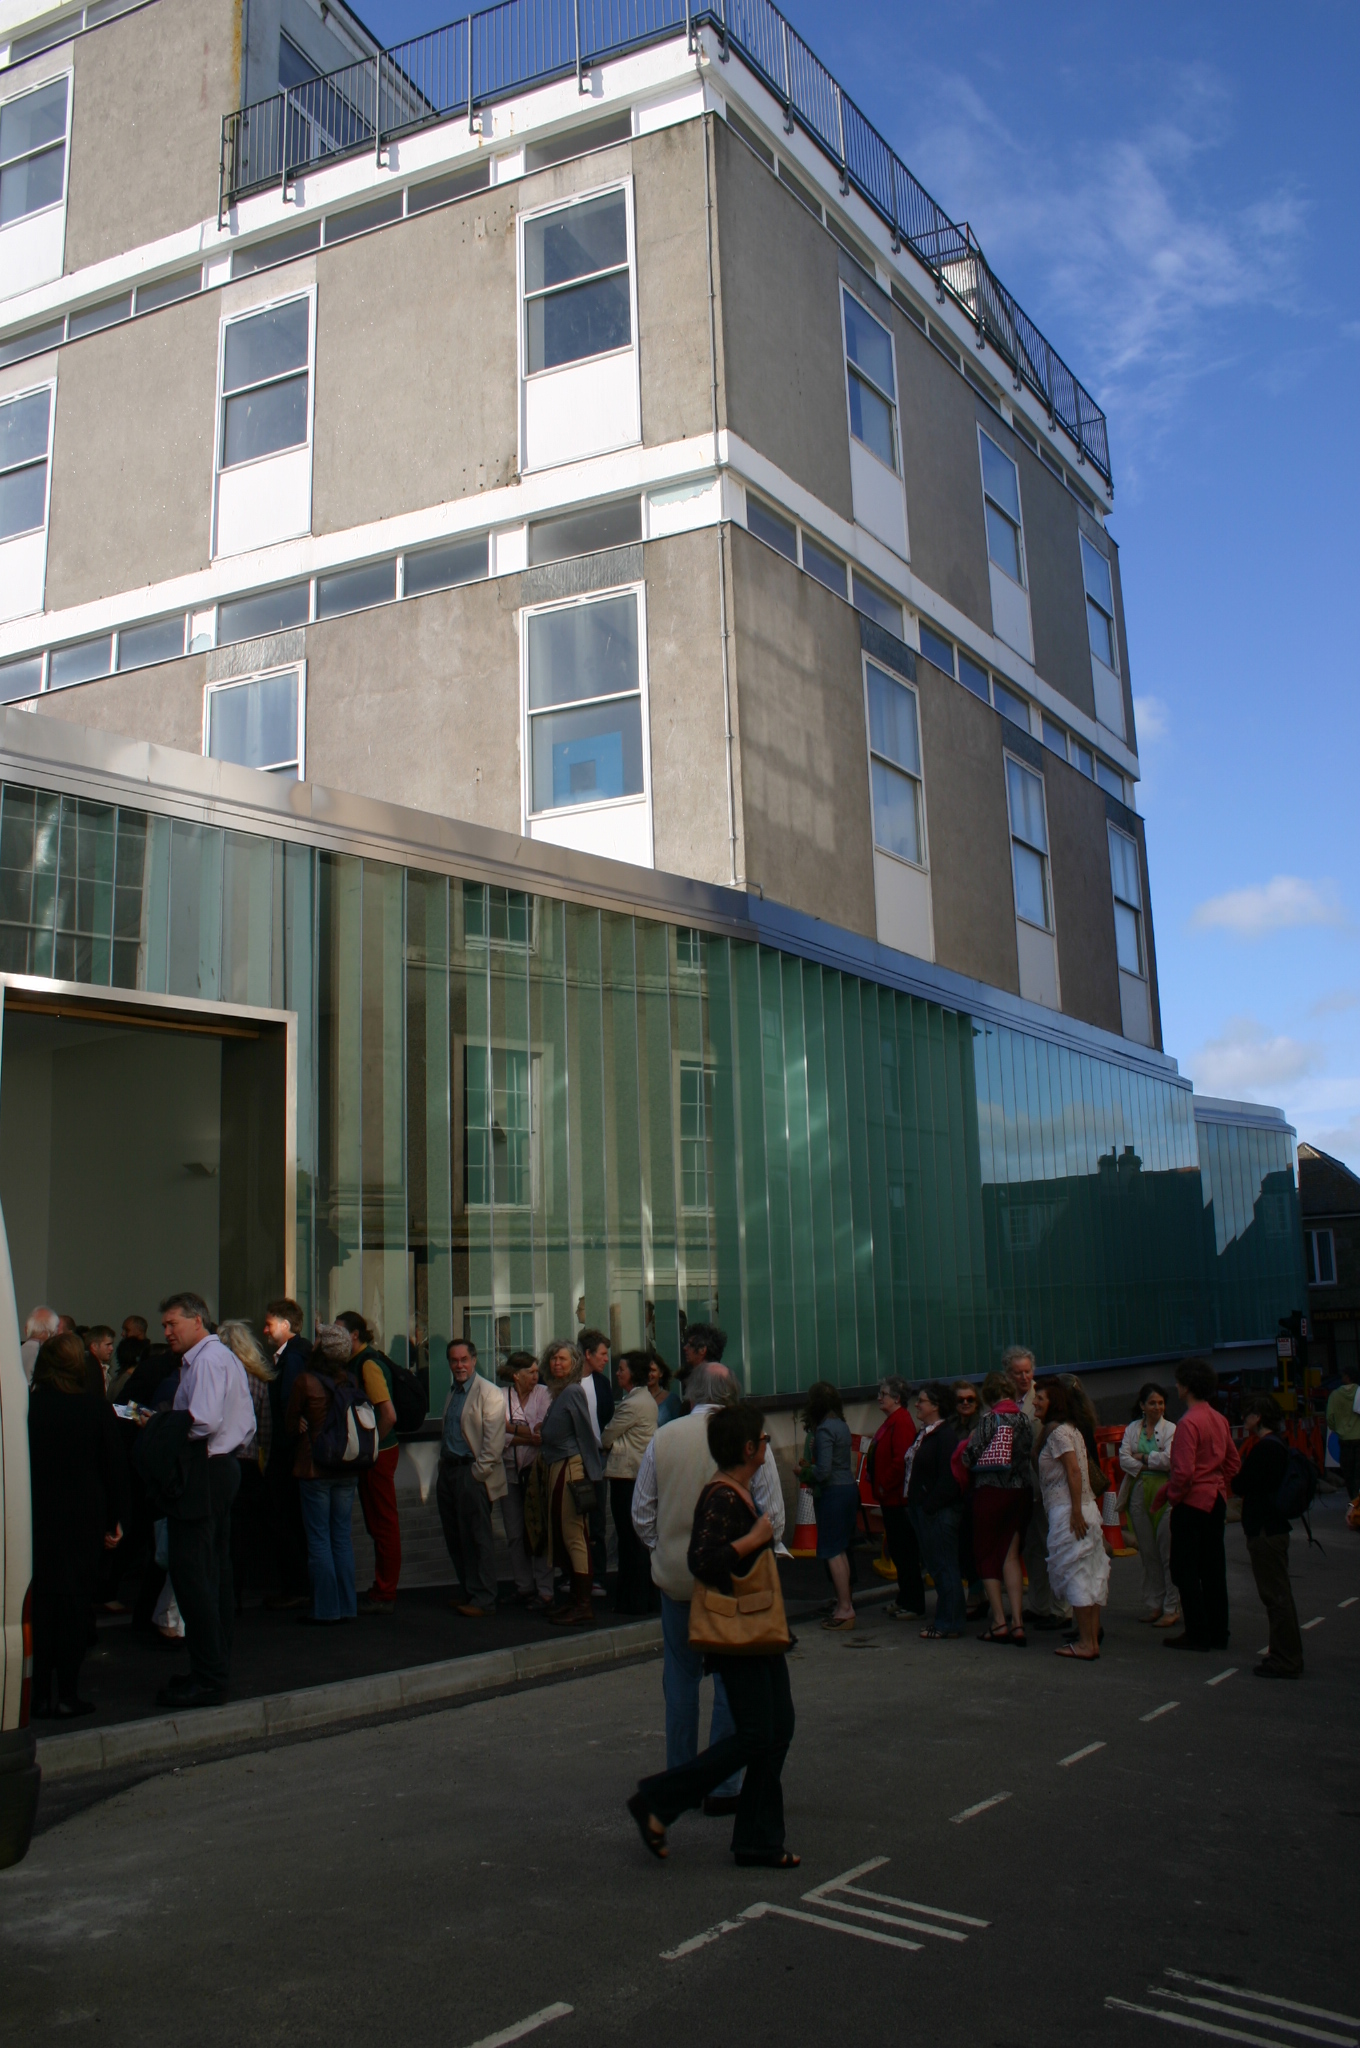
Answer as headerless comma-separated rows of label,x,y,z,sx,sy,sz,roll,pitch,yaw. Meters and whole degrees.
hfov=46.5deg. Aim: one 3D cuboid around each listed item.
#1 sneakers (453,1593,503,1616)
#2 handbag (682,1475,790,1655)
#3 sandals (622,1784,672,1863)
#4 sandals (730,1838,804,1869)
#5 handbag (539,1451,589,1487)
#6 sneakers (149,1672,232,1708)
sneakers,-1.252,3.620,9.827,0.274,0.130,0.100,19,-23,-38
handbag,0.163,1.538,4.815,0.309,0.630,0.590,-4,-12,10
sandals,-0.112,2.360,4.634,0.087,0.266,0.140,-12,-3,21
sandals,0.246,2.393,4.572,0.183,0.082,0.069,-2,-8,5
handbag,-0.698,2.694,9.573,0.282,0.303,0.163,-5,-13,20
sneakers,-2.140,2.908,6.894,0.389,0.180,0.134,-11,-14,37
